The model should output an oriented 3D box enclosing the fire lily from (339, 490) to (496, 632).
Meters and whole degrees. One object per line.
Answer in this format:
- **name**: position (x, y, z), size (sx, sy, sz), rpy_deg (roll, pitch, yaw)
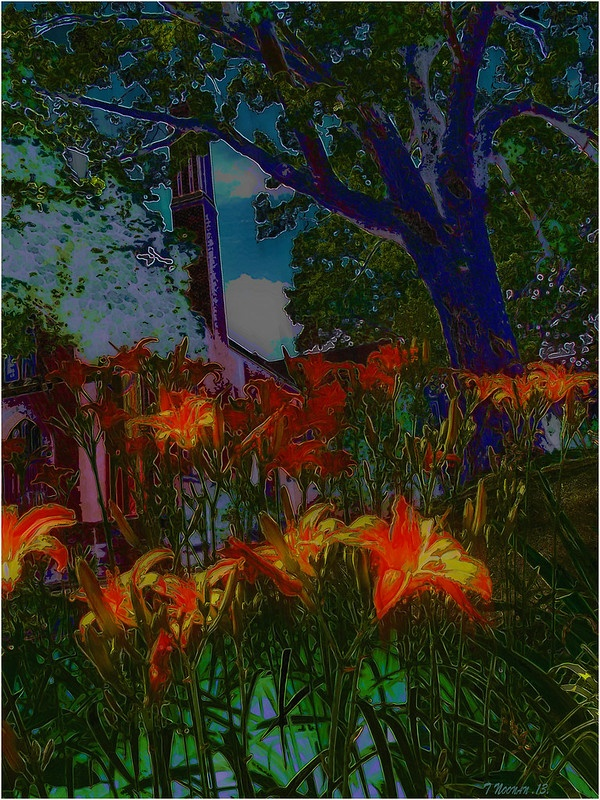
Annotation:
- **fire lily**: position (0.148, 0.223, 1.228), size (0.189, 0.190, 0.149), rpy_deg (-7, 3, 1)
